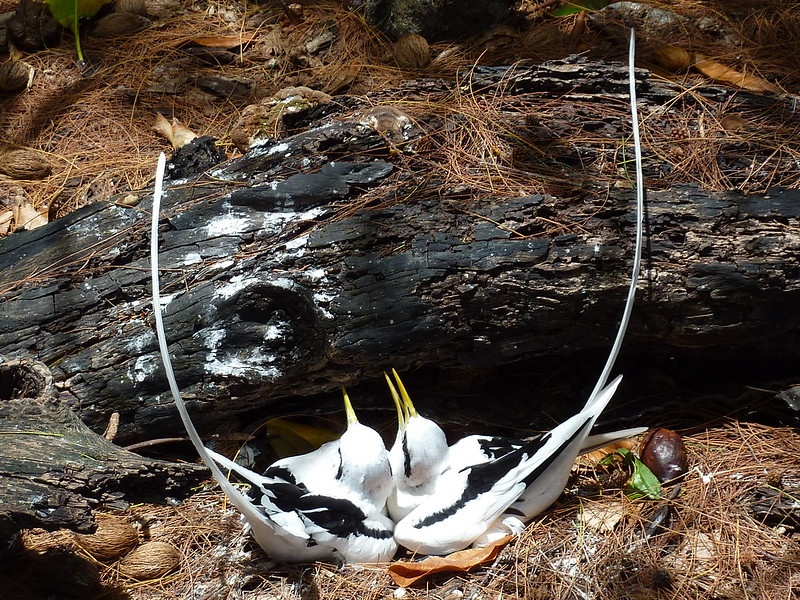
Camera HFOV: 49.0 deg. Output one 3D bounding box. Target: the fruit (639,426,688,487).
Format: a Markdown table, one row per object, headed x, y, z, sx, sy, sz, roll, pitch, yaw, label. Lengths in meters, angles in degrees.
| x | y | z | sx | sy | sz | roll | pitch | yaw | label |
| --- | --- | --- | --- | --- | --- | --- | --- | --- | --- |
| 1.411 | 0.831 | 4.675 | 0.338 | 0.256 | 0.193 | -18 | -23 | 7 | fruit |
